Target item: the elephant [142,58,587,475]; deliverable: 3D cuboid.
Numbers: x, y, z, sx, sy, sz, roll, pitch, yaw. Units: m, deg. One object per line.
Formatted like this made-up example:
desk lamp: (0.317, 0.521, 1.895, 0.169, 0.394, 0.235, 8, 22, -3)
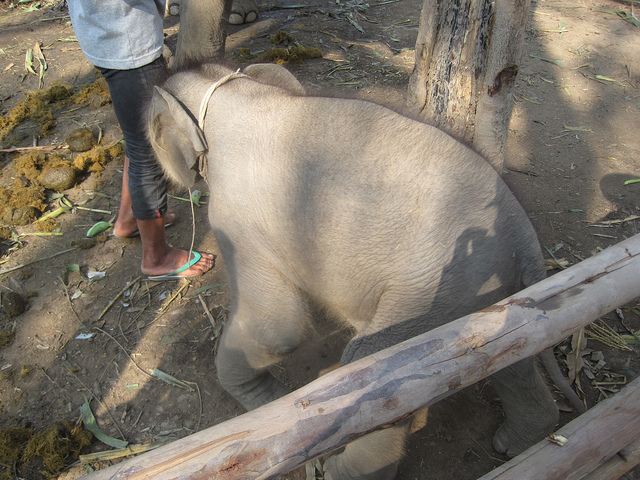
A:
elephant: (-0.033, 0.065, 2.524, 1.779, 1.317, 1.151, 33, 55, 31)
